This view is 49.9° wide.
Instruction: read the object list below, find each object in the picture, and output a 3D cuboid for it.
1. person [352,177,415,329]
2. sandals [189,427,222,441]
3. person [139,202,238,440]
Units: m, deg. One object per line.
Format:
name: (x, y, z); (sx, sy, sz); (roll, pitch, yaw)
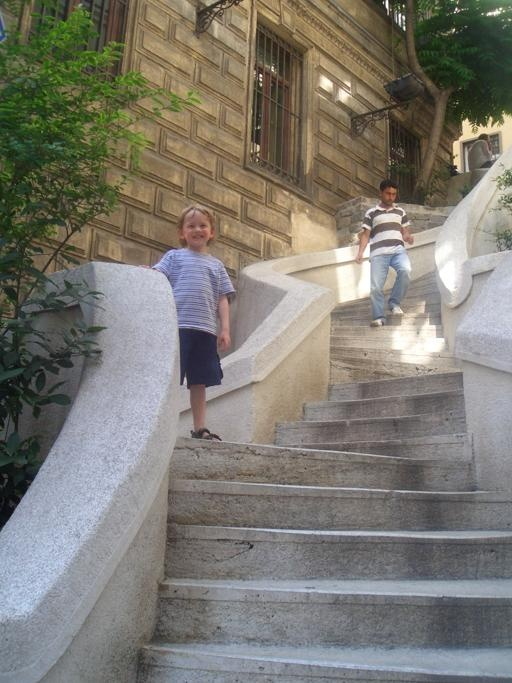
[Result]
person: (1.465, -1.033, 6.212); (0.616, 1.582, 1.725); (1, 7, 11)
sandals: (-0.278, 0.497, 2.916); (0.089, 0.103, 0.240); (4, -12, -38)
person: (-0.359, -0.076, 3.210); (0.460, 1.458, 0.751); (-1, 7, -3)
